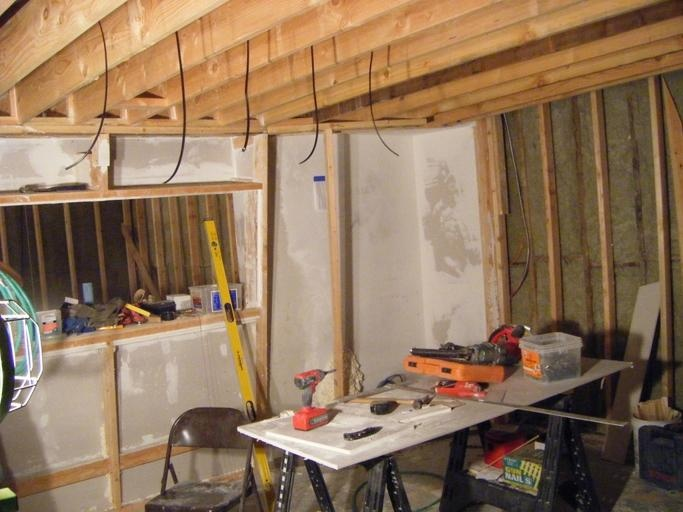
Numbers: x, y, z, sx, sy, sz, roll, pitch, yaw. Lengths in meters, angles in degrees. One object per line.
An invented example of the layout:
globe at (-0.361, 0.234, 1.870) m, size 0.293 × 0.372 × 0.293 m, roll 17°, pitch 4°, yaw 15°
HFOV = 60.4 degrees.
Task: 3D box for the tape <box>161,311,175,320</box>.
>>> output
tape at (-1.478, 0.508, 5.000) m, size 0.084 × 0.054 × 0.081 m, roll 1°, pitch 0°, yaw 17°

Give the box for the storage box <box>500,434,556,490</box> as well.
storage box at (1.352, 1.508, 4.284) m, size 0.401 × 0.127 × 0.376 m, roll 0°, pitch 4°, yaw 34°

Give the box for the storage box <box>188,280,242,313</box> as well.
storage box at (-1.123, 0.380, 5.291) m, size 0.479 × 0.244 × 0.332 m, roll -3°, pitch 1°, yaw -13°

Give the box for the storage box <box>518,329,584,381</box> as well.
storage box at (1.504, 0.728, 4.279) m, size 0.410 × 0.244 × 0.304 m, roll 0°, pitch -2°, yaw -33°
